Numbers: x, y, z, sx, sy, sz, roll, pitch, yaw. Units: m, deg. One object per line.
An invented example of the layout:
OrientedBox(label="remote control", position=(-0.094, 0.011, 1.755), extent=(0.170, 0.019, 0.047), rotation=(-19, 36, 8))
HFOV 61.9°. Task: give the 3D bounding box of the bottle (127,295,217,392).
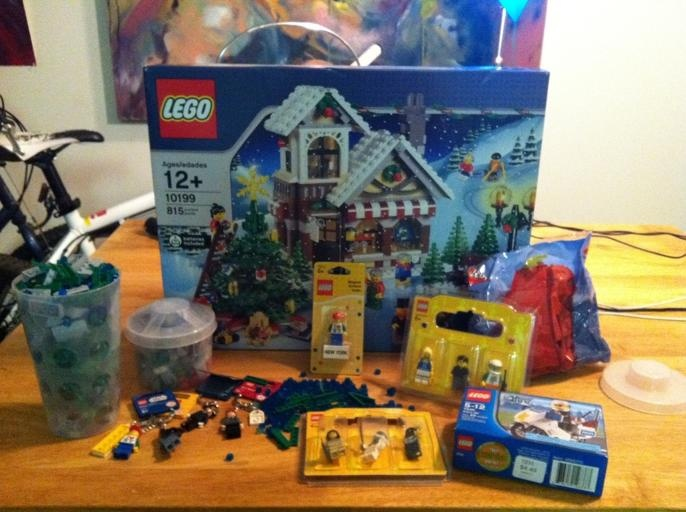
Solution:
OrientedBox(label="bottle", position=(-0.327, 0.157, 1.105), extent=(0.170, 0.144, 0.166), rotation=(2, 21, -1))

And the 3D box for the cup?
OrientedBox(label="cup", position=(-0.467, 0.162, 1.008), extent=(0.169, 0.261, 0.168), rotation=(2, 16, -1))
